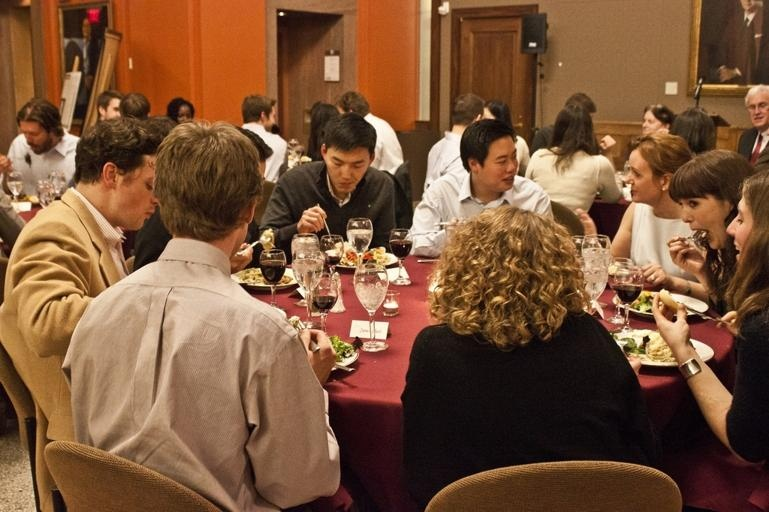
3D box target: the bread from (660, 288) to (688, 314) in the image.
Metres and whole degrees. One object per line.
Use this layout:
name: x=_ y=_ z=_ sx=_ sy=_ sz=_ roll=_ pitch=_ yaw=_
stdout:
bread: x=1.097 y=0.161 z=2.435 sx=0.084 sy=0.038 sz=0.088 roll=39 pitch=9 yaw=-7

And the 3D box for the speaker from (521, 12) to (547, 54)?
speaker: x=2.136 y=-3.141 z=9.076 sx=0.319 sy=0.534 sz=0.272 roll=6 pitch=15 yaw=23

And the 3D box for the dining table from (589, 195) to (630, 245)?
dining table: x=1.866 y=-0.323 z=5.339 sx=0.296 sy=0.622 sz=0.318 roll=2 pitch=4 yaw=44

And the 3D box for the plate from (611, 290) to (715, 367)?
plate: x=0.999 y=0.281 z=2.271 sx=0.264 sy=0.044 sz=0.292 roll=7 pitch=32 yaw=10
